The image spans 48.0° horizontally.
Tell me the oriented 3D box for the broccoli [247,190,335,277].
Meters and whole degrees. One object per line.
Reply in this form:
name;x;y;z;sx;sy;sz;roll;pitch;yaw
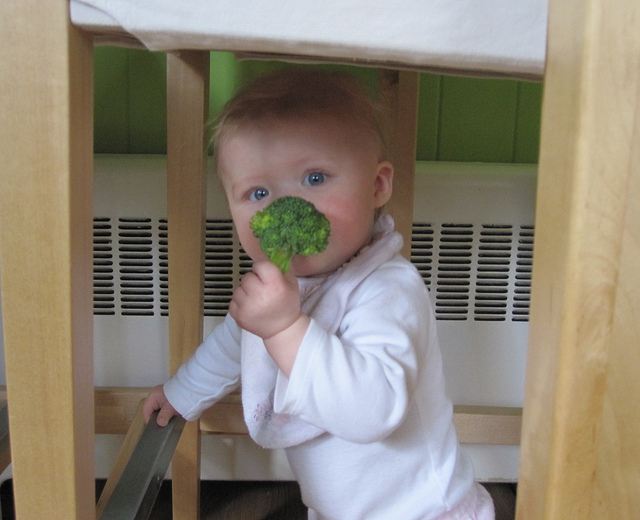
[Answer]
broccoli;-0.029;-0.048;1.035;0.109;0.129;0.110;-3;10;-40

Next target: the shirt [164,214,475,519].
shirt;0.026;0.160;1.245;0.486;0.668;0.406;-7;13;-22
